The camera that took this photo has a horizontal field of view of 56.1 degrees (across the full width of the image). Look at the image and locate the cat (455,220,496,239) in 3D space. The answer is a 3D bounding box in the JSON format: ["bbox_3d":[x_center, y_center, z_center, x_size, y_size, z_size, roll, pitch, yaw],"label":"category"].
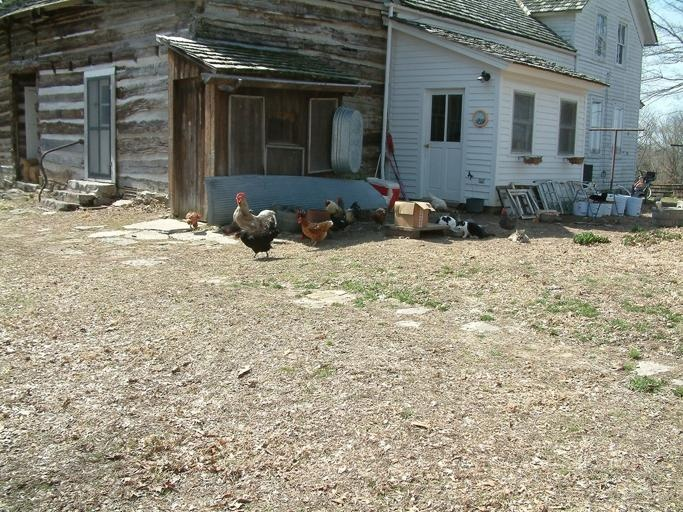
[{"bbox_3d":[2.391,-0.477,11.457,0.687,0.294,0.456,0,6,3],"label":"cat"}]

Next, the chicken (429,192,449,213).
[{"bbox_3d":[2.225,-1.198,14.608,0.563,0.323,0.274,13,21,14],"label":"chicken"}]

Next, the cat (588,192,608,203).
[{"bbox_3d":[5.774,-1.332,14.449,0.351,0.248,0.823,2,7,19],"label":"cat"}]

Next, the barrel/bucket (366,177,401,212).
[{"bbox_3d":[1.062,-1.442,14.058,0.726,0.704,0.880,-24,33,-33],"label":"barrel/bucket"}]

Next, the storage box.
[{"bbox_3d":[1.157,-0.852,11.571,1.500,1.131,1.463,-4,12,-13],"label":"storage box"}]

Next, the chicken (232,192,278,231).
[{"bbox_3d":[-1.311,-0.675,9.841,0.463,0.574,0.537,4,8,32],"label":"chicken"}]

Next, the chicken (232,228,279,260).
[{"bbox_3d":[-1.236,-0.188,9.406,0.513,0.378,0.493,1,7,14],"label":"chicken"}]

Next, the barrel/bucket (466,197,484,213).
[{"bbox_3d":[2.979,-1.141,14.314,0.425,0.237,0.368,0,2,-6],"label":"barrel/bucket"}]

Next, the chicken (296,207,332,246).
[{"bbox_3d":[-0.486,-0.481,10.201,0.706,0.507,0.237,0,26,-33],"label":"chicken"}]

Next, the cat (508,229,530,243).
[{"bbox_3d":[3.071,-0.345,11.134,0.290,0.094,0.292,2,15,2],"label":"cat"}]
